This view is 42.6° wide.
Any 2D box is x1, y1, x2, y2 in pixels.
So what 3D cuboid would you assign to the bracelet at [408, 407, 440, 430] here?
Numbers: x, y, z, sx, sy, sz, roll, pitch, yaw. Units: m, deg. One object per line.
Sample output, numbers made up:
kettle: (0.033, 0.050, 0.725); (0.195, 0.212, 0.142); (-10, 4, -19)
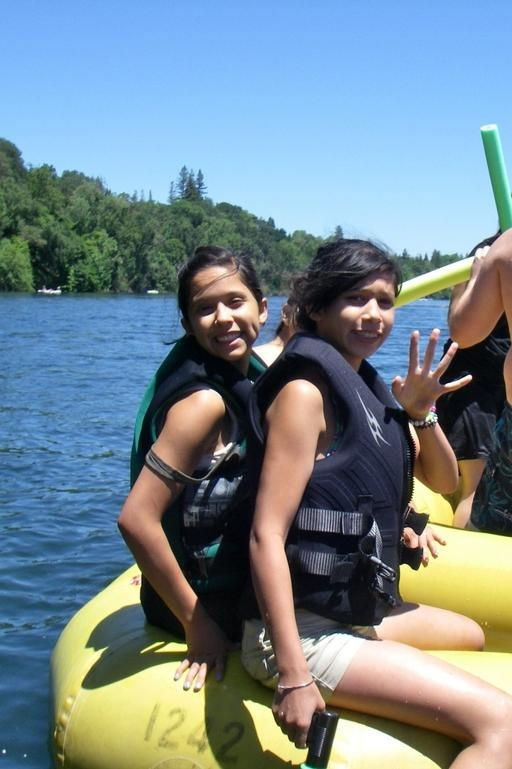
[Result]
bracelet: (0.466, 0.094, 1.826); (0.062, 0.028, 0.071); (-26, 0, -16)
